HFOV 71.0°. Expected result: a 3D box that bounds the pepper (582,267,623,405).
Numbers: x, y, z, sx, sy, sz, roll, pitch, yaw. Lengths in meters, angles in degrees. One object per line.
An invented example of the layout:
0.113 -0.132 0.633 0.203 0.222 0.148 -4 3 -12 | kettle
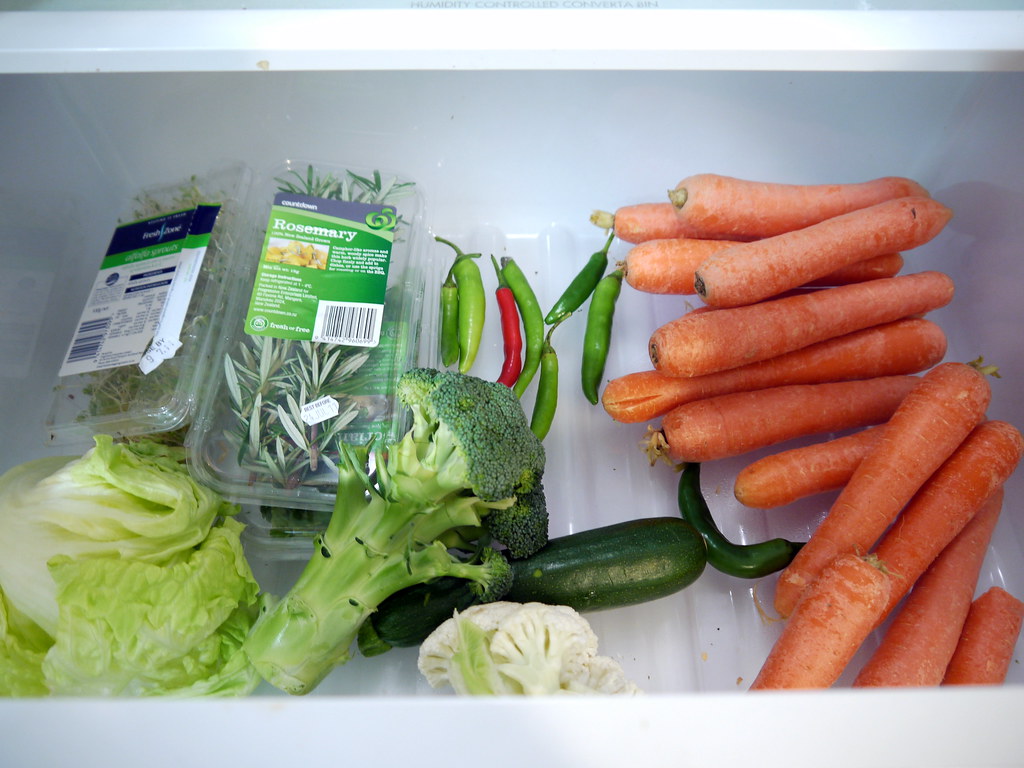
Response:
0.197 -0.110 1.651 0.075 0.335 0.063 15 -11 -22 | pepper

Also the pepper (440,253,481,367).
-0.113 -0.161 1.627 0.114 0.237 0.048 6 -20 5 | pepper

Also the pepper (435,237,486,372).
-0.099 -0.178 1.629 0.096 0.327 0.066 0 -12 -9 | pepper

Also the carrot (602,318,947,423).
0.572 -0.022 1.482 0.415 0.091 0.085 -17 -15 -7 | carrot

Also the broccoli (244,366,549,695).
-0.193 0.302 1.377 0.604 0.412 0.271 -44 6 -18 | broccoli

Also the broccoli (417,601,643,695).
0.015 0.431 1.166 0.257 0.128 0.178 -5 27 5 | broccoli

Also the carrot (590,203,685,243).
0.290 -0.346 1.623 0.235 0.085 0.082 2 -3 -5 | carrot

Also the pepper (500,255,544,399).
0.020 -0.131 1.626 0.083 0.290 0.064 -8 -11 -1 | pepper

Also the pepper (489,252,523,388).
-0.028 -0.152 1.673 0.055 0.320 0.043 -8 -14 -15 | pepper

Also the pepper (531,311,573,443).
0.087 -0.006 1.548 0.057 0.220 0.035 17 -15 -32 | pepper

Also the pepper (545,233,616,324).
0.157 -0.238 1.685 0.262 0.047 0.043 -51 20 -10 | pepper

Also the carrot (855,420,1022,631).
0.781 0.263 1.317 0.409 0.091 0.096 -50 -15 -4 | carrot
